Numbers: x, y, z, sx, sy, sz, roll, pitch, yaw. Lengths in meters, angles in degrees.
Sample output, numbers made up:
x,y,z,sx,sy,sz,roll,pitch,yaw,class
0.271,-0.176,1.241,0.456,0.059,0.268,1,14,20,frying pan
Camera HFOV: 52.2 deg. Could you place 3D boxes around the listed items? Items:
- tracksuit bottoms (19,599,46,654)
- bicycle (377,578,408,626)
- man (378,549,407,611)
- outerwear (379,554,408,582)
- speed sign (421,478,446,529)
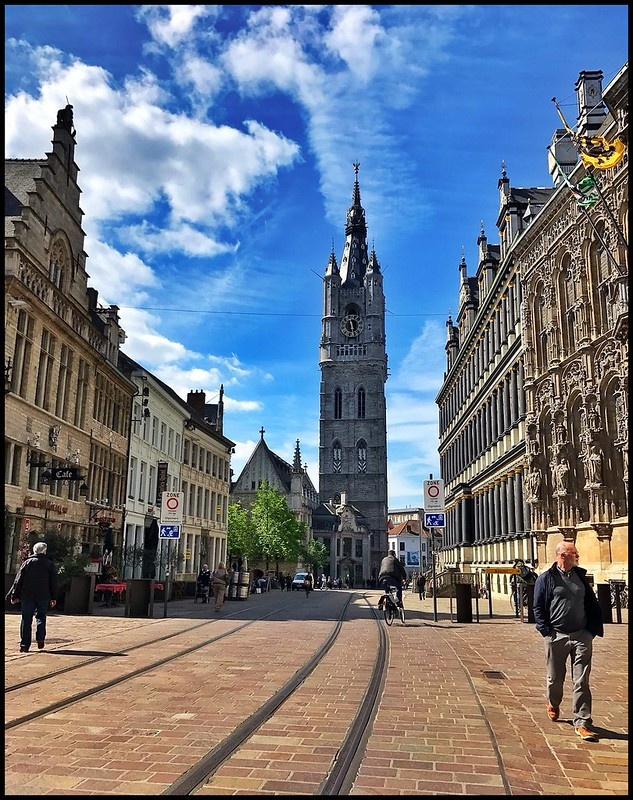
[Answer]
x,y,z,sx,sy,sz,roll,pitch,yaw,class
-4.405,3.440,10.075,0.337,0.935,0.242,3,10,-9,tracksuit bottoms
1.898,5.337,16.852,0.730,1.081,1.609,-13,-17,12,bicycle
1.944,4.273,15.952,0.622,1.049,0.420,-9,-5,-32,man
1.856,4.199,15.991,0.665,0.652,0.890,0,-13,7,outerwear
2.978,2.658,16.535,0.473,1.262,0.893,0,-13,9,speed sign
